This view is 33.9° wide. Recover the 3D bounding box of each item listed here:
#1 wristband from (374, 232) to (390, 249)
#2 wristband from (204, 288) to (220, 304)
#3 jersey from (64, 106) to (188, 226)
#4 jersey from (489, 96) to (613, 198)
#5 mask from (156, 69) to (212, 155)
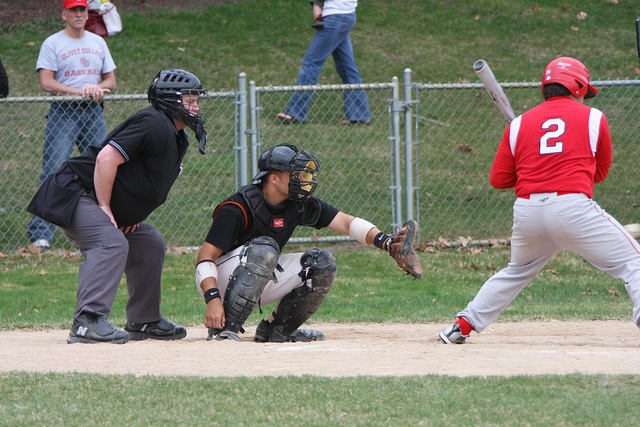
[{"bbox_3d":[0.630,0.273,10.712,0.109,0.125,0.159,27,-6,15],"label":"wristband"},{"bbox_3d":[-1.073,0.830,10.522,0.149,0.096,0.142,-5,-7,-22],"label":"wristband"},{"bbox_3d":[-1.871,-0.467,10.497,1.057,1.224,0.374,4,10,-7],"label":"jersey"},{"bbox_3d":[2.361,-0.613,10.733,1.254,1.054,0.718,4,0,20],"label":"jersey"},{"bbox_3d":[-1.391,-1.051,10.764,0.604,0.842,0.602,6,-4,-16],"label":"mask"}]
